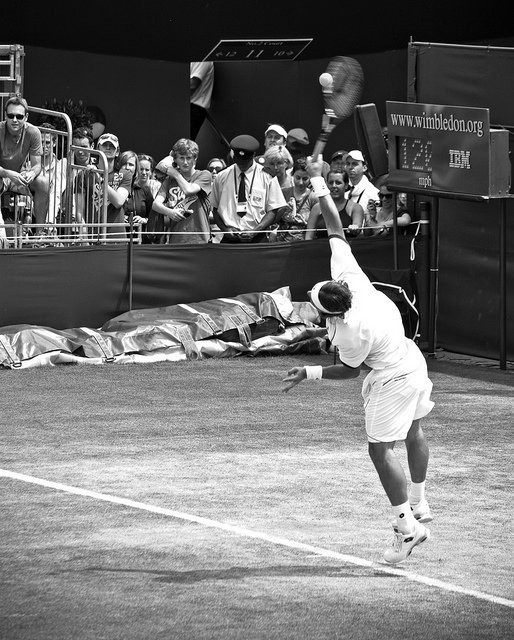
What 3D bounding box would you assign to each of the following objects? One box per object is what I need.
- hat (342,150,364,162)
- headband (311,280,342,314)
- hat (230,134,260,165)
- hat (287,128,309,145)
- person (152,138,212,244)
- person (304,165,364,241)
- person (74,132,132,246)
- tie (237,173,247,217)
[{"bbox_3d":[1.256,-2.045,14.118,0.159,0.108,0.228,-5,-12,37],"label":"hat"},{"bbox_3d":[0.336,-0.118,5.604,0.124,0.151,0.313,0,6,-6],"label":"headband"},{"bbox_3d":[-0.136,-1.961,13.072,0.287,0.340,0.373,1,6,-1],"label":"hat"},{"bbox_3d":[0.631,-2.736,16.923,0.255,0.240,0.313,2,9,-10],"label":"hat"},{"bbox_3d":[-0.805,-1.484,13.182,0.747,1.188,0.662,-1,6,-17],"label":"person"},{"bbox_3d":[0.907,-1.207,13.375,0.697,1.207,0.717,4,-1,14],"label":"person"},{"bbox_3d":[-1.808,-1.544,13.446,0.681,1.287,1.443,0,6,-8],"label":"person"},{"bbox_3d":[-0.169,-1.450,13.224,0.095,0.497,0.192,1,6,0],"label":"tie"}]
